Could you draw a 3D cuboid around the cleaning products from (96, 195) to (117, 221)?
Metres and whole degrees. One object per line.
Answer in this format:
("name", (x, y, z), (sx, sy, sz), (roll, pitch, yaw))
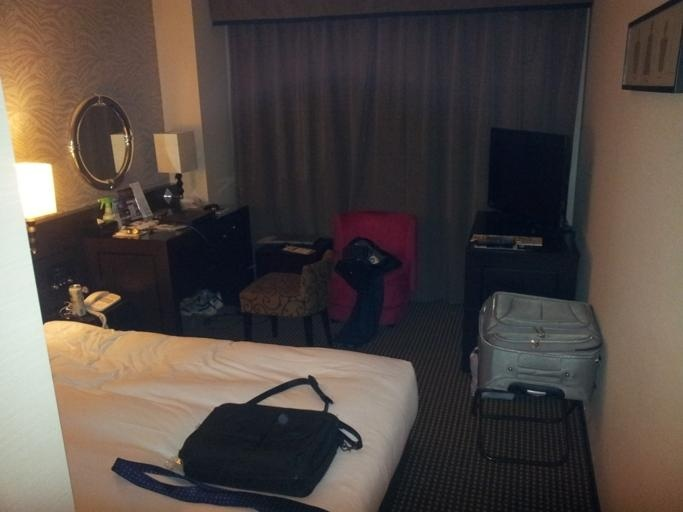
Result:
("cleaning products", (-1.776, -0.361, 4.056), (0.125, 0.171, 0.192), (-2, 15, -2))

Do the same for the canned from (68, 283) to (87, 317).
("canned", (-1.742, 0.280, 3.523), (0.106, 0.199, 0.188), (-9, 17, -27))

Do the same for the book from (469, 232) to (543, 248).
("book", (1.139, -0.106, 3.688), (0.348, 0.094, 0.104), (2, -2, 6))

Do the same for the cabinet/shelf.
("cabinet/shelf", (1.442, 0.200, 4.253), (0.704, 0.914, 1.325), (4, 19, 19))

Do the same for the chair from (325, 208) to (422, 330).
("chair", (0.243, 0.097, 4.739), (0.801, 0.904, 0.842), (6, 17, 22))

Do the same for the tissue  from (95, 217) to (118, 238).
("tissue ", (-1.764, -0.212, 4.008), (0.124, 0.116, 0.168), (-9, 20, 10))

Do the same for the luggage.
("luggage", (1.173, 0.499, 3.169), (0.731, 0.407, 0.666), (-4, 20, -3))

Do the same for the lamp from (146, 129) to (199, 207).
("lamp", (-1.434, -0.776, 4.650), (0.356, 0.609, 0.489), (-5, 16, -15))

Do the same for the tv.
("tv", (1.387, -0.570, 3.946), (0.221, 0.635, 0.658), (-14, 25, -21))

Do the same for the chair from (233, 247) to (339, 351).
("chair", (-0.392, 0.327, 4.689), (0.816, 0.962, 0.698), (3, 13, 6))

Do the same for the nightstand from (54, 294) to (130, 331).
("nightstand", (-1.676, 0.395, 3.652), (0.434, 0.239, 0.401), (11, -11, -39))

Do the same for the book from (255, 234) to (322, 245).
("book", (-0.503, -0.150, 5.069), (0.553, 0.056, 0.235), (1, 14, 8))

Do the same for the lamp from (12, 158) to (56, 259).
("lamp", (-1.858, -0.280, 3.305), (0.178, 0.587, 0.215), (-10, 18, -28))

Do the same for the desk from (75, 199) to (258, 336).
("desk", (-1.425, 0.139, 4.555), (0.654, 0.821, 1.242), (4, 14, 13))
